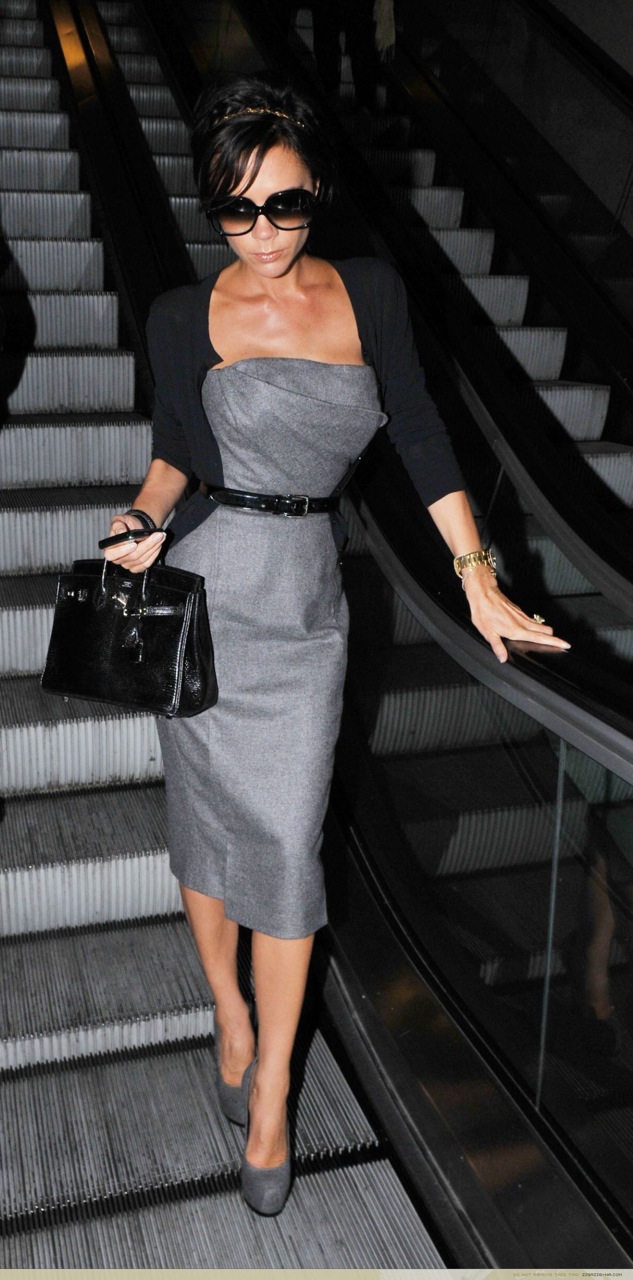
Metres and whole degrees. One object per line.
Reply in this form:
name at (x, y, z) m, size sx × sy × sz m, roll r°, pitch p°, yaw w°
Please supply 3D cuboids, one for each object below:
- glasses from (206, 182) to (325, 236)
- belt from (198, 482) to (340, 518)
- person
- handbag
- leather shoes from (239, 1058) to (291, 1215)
glasses at (-0.082, -0.608, 1.211) m, size 0.147 × 0.064 × 0.080 m, roll -1°, pitch 28°, yaw -5°
belt at (-0.083, -0.223, 1.359) m, size 0.217 × 0.048 × 0.093 m, roll 5°, pitch 29°, yaw 5°
person at (-0.039, 0.081, 1.439) m, size 0.576 × 1.739 × 0.745 m, roll -6°, pitch 27°, yaw -14°
handbag at (-0.311, -0.037, 1.402) m, size 0.285 × 0.295 × 0.114 m, roll 8°, pitch 5°, yaw 21°
leather shoes at (-0.090, 0.827, 1.446) m, size 0.064 × 0.080 × 0.227 m, roll -3°, pitch 53°, yaw -5°
